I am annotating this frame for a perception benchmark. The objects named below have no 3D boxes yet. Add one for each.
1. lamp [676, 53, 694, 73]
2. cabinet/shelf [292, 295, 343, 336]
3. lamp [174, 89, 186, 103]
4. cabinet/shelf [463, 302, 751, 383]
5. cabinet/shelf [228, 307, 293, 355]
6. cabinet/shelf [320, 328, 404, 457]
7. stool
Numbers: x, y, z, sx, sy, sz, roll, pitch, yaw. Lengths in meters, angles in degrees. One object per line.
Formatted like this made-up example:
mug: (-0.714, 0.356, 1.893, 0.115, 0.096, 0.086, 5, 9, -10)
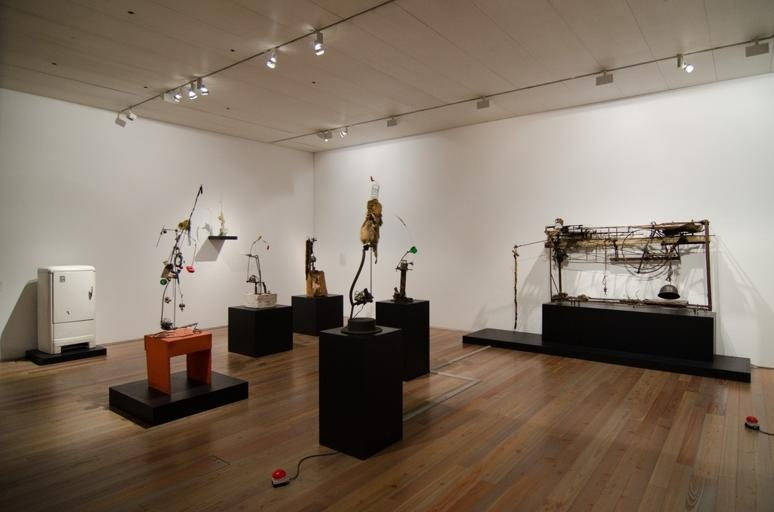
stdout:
lamp: (4.135, -2.623, 6.802, 0.200, 0.288, 0.293, -4, 6, 28)
cabinet/shelf: (-1.370, 1.070, 9.312, 0.861, 0.858, 0.887, 2, 3, 41)
lamp: (-3.283, -2.550, 7.754, 0.104, 0.236, 0.123, -15, -28, 21)
cabinet/shelf: (3.550, 1.235, 7.598, 3.394, 0.949, 0.655, 0, -1, 31)
cabinet/shelf: (-2.157, 1.238, 8.321, 0.869, 0.760, 0.893, -2, 2, -43)
cabinet/shelf: (-0.275, 1.464, 5.223, 0.889, 1.287, 0.327, 0, 0, -7)
stool: (-2.657, 1.331, 6.268, 0.471, 0.628, 0.648, 2, 1, 32)
